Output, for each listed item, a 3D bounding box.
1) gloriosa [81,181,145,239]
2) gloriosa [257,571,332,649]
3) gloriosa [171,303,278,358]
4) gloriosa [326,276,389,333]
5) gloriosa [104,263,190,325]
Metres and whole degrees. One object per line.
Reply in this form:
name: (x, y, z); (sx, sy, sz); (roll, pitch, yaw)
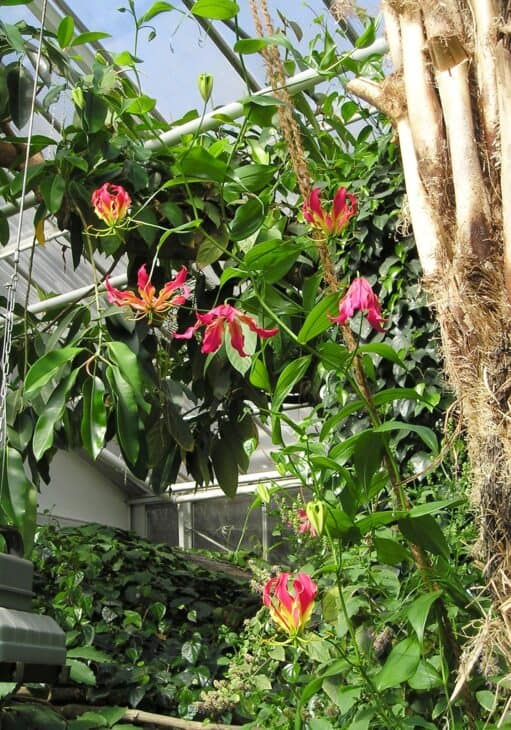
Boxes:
gloriosa: (-0.230, -0.239, 1.042); (0.084, 0.053, 0.060); (-16, 2, 39)
gloriosa: (0.036, 0.223, 0.593); (0.049, 0.061, 0.047); (-5, -7, -9)
gloriosa: (-0.038, -0.033, 0.618); (0.116, 0.041, 0.105); (9, -8, 1)
gloriosa: (0.097, -0.063, 0.580); (0.040, 0.032, 0.038); (-12, 7, -30)
gloriosa: (-0.145, -0.102, 0.940); (0.114, 0.066, 0.106); (-5, -10, 28)
